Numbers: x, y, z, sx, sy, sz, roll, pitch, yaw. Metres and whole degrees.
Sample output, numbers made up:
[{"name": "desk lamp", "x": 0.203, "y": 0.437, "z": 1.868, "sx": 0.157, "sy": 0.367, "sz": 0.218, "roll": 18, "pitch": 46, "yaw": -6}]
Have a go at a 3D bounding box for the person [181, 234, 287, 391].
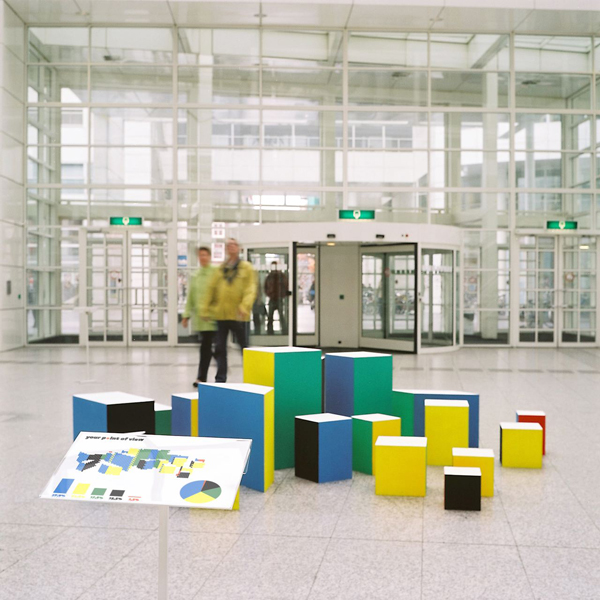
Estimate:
[{"name": "person", "x": -1.071, "y": 0.212, "z": 9.532, "sx": 0.613, "sy": 2.058, "sz": 1.327, "roll": -4, "pitch": 5, "yaw": -35}]
